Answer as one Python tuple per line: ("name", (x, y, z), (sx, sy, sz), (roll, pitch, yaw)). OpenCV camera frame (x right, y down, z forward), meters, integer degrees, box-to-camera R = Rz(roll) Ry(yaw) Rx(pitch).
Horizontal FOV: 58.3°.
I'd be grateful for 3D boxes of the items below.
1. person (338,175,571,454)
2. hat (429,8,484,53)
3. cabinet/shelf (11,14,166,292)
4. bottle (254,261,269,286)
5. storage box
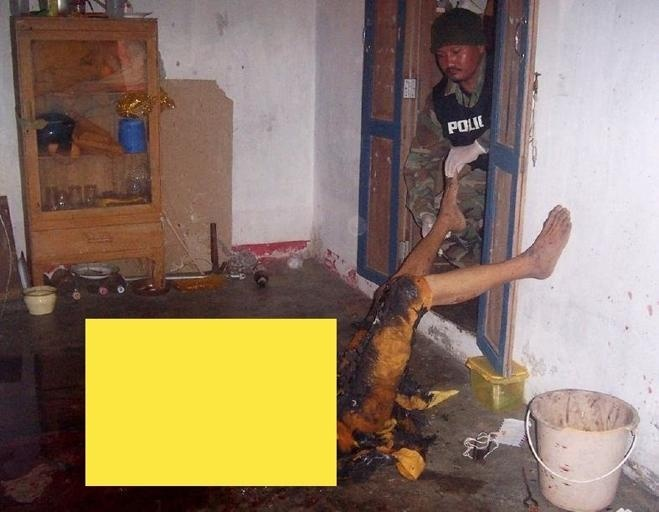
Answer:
("person", (0.860, 0.293, 3.668), (1.290, 1.204, 1.586), (17, -12, -30))
("hat", (0.882, -1.563, 4.051), (0.289, 0.205, 0.287), (-26, 33, -30))
("cabinet/shelf", (-2.012, -0.815, 5.000), (1.187, 2.281, 0.462), (-4, 12, -19))
("bottle", (-0.662, 0.169, 5.696), (0.105, 0.198, 0.077), (-21, 38, -7))
("storage box", (1.097, 0.819, 3.735), (0.273, 0.247, 0.357), (-7, 10, -8))
